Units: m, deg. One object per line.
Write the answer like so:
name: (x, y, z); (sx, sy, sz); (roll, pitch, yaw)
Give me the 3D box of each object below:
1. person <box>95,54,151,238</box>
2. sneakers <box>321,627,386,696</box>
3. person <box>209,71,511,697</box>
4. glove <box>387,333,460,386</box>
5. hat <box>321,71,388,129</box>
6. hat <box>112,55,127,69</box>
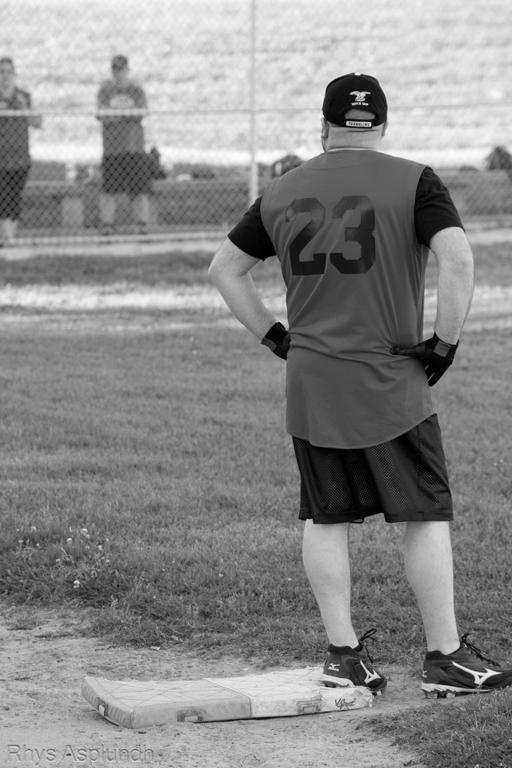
person: (-1.080, -1.955, 12.783); (0.436, 1.470, 0.711); (1, 11, -5)
sneakers: (0.354, 0.906, 5.107); (0.132, 0.217, 0.303); (-6, -14, 35)
person: (0.369, 0.016, 5.015); (1.019, 1.999, 0.460); (10, 14, 36)
glove: (0.550, -0.110, 4.976); (0.250, 0.093, 0.197); (18, -5, 38)
hat: (0.315, -0.923, 4.995); (0.199, 0.161, 0.297); (3, 12, -4)
hat: (-1.118, -2.616, 12.626); (0.117, 0.124, 0.129); (4, 20, 11)
